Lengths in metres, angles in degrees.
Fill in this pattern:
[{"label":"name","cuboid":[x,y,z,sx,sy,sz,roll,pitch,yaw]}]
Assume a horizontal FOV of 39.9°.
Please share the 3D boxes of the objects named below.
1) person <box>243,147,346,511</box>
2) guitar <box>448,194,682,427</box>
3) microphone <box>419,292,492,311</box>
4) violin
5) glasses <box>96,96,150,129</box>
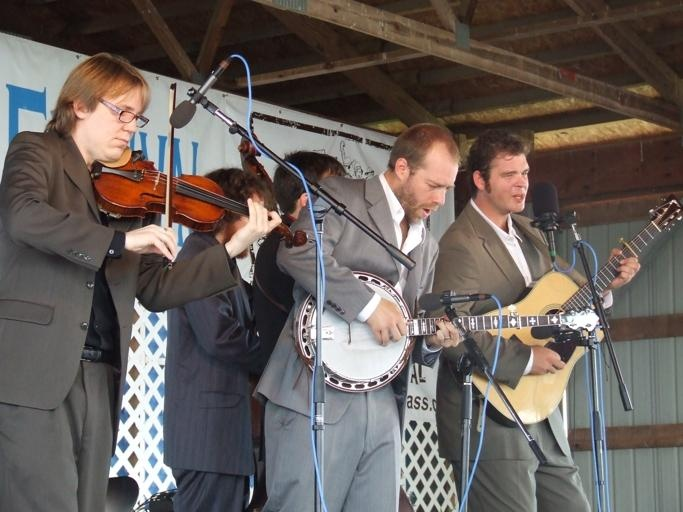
[{"label":"person","cuboid":[-0.351,0.391,5.542,0.270,2.042,0.731,1,1,40]},{"label":"guitar","cuboid":[1.539,0.242,6.320,0.826,2.114,0.266,51,-23,-14]},{"label":"microphone","cuboid":[0.630,0.257,5.396,0.308,0.083,0.097,-6,5,1]},{"label":"violin","cuboid":[-0.834,-0.340,5.172,0.230,0.485,1.193,-37,-33,31]},{"label":"glasses","cuboid":[-1.100,-0.737,4.681,0.143,0.043,0.143,34,8,22]}]
